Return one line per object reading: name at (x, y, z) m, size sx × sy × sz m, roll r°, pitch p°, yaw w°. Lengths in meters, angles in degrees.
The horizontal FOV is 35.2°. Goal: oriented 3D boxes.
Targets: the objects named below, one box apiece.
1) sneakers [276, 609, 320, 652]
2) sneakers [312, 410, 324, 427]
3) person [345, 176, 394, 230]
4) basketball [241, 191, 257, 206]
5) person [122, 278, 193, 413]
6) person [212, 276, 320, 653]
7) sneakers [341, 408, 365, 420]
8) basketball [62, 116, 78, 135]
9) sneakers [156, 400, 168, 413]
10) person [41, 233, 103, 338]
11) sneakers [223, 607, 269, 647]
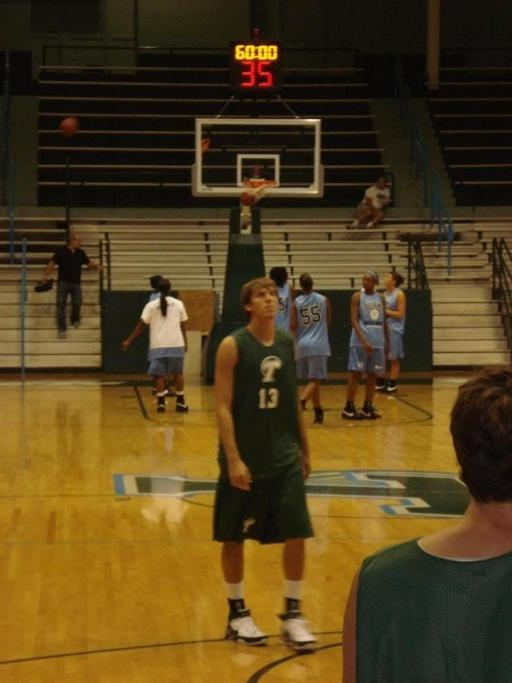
sneakers at (0.145, 0.982, 2.724) m, size 0.088 × 0.088 × 0.177 m, roll -1°, pitch 2°, yaw -22°
sneakers at (0.607, 0.781, 8.040) m, size 0.118 × 0.195 × 0.131 m, roll 2°, pitch 0°, yaw 25°
person at (2.366, -2.832, 16.746) m, size 0.854 × 1.069 × 0.548 m, roll 0°, pitch 2°, yaw -6°
basketball at (-0.129, -1.937, 11.077) m, size 0.167 × 0.143 × 0.176 m, roll -4°, pitch 2°, yaw -41°
person at (-1.100, 0.029, 9.330) m, size 0.611 × 1.503 × 1.361 m, roll 0°, pitch 2°, yaw -7°
person at (0.025, 0.402, 2.833) m, size 0.354 × 1.247 × 0.418 m, roll 0°, pitch 2°, yaw -1°
sneakers at (1.005, 0.766, 8.342) m, size 0.245 × 0.116 × 0.096 m, roll 1°, pitch -1°, yaw 10°
basketball at (-4.084, -4.692, 17.593) m, size 0.320 × 0.391 × 0.452 m, roll -1°, pitch 2°, yaw -28°
sneakers at (-1.054, 0.745, 9.022) m, size 0.095 × 0.123 × 0.278 m, roll 0°, pitch -7°, yaw -5°
person at (-3.122, -0.905, 13.472) m, size 0.754 × 1.686 × 1.485 m, roll 0°, pitch 2°, yaw -15°
sneakers at (-0.044, 0.979, 2.747) m, size 0.068 × 0.123 × 0.167 m, roll 4°, pitch -7°, yaw -40°
